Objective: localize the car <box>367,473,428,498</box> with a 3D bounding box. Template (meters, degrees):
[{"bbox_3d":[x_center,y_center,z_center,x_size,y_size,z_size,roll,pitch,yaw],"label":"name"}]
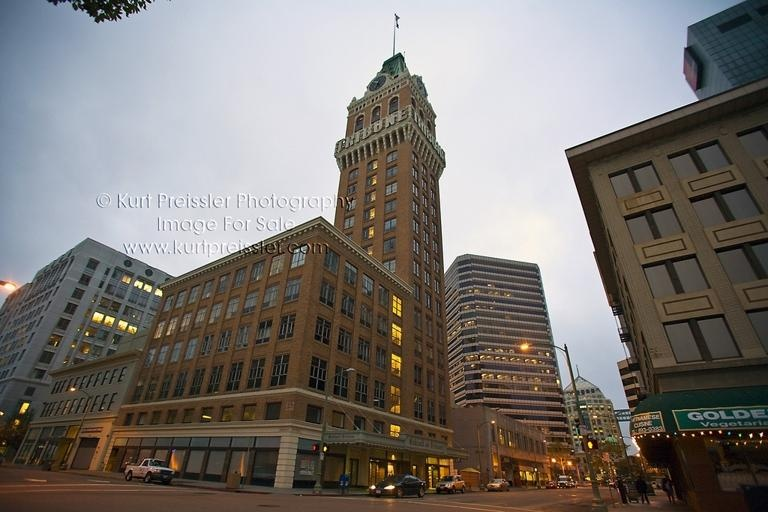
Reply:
[{"bbox_3d":[1.443,23.931,44.639,5.794,2.239,1.838,20,-39,-28],"label":"car"}]

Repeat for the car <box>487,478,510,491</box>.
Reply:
[{"bbox_3d":[17.163,35.042,65.472,2.056,1.868,4.536,-22,-39,29],"label":"car"}]

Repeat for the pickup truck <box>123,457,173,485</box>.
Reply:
[{"bbox_3d":[-23.907,21.957,43.611,5.240,2.525,2.032,-19,-39,26],"label":"pickup truck"}]

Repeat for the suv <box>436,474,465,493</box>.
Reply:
[{"bbox_3d":[8.741,30.086,56.644,2.603,2.409,4.288,-17,-37,23],"label":"suv"}]

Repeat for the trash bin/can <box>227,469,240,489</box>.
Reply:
[{"bbox_3d":[-15.168,22.679,43.287,1.183,1.586,1.211,11,-36,-15],"label":"trash bin/can"}]
